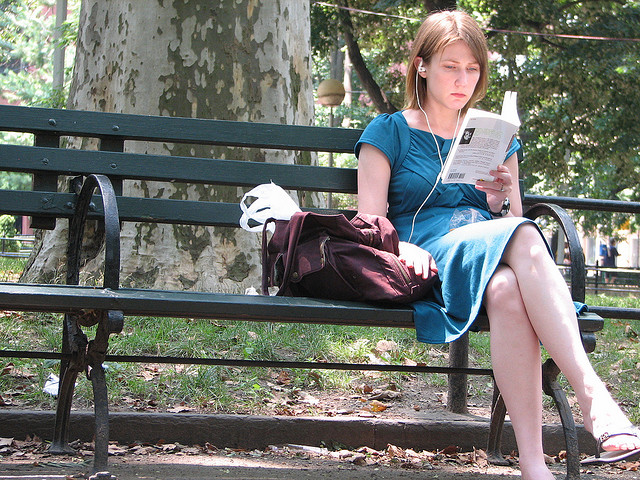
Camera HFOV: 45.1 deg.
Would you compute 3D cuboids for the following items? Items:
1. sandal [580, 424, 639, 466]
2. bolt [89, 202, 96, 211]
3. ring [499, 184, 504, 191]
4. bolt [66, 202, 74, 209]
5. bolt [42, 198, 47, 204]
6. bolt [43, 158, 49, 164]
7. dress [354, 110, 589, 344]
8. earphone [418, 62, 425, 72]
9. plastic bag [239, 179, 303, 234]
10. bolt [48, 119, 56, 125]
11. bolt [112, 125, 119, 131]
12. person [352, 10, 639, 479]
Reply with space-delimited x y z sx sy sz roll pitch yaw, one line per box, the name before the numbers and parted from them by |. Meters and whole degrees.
sandal | 1.234 0.886 3.324 0.298 0.077 0.119 -26 -17 36
bolt | -1.272 -0.190 4.295 0.040 0.042 0.032 4 1 18
ring | 0.974 -0.284 4.121 0.023 0.033 0.011 1 2 7
bolt | -1.373 -0.193 4.227 0.036 0.036 0.012 7 -5 -2
bolt | -1.507 -0.220 4.210 0.043 0.028 0.017 1 -8 -18
bolt | -1.515 -0.439 4.252 0.021 0.024 0.027 1 13 -2
dress | 0.841 -0.030 4.244 1.322 1.131 1.156 3 -3 -17
earphone | 0.569 -0.984 4.353 0.033 0.046 0.017 -1 15 23
plastic bag | -0.299 -0.177 4.209 0.275 0.257 0.757 1 2 -13
bolt | -1.500 -0.663 4.296 0.028 0.028 0.016 29 -6 -2
bolt | -1.158 -0.639 4.368 0.029 0.019 0.024 -10 10 -43
person | 0.766 -0.119 3.892 1.052 2.318 1.446 1 2 -6
